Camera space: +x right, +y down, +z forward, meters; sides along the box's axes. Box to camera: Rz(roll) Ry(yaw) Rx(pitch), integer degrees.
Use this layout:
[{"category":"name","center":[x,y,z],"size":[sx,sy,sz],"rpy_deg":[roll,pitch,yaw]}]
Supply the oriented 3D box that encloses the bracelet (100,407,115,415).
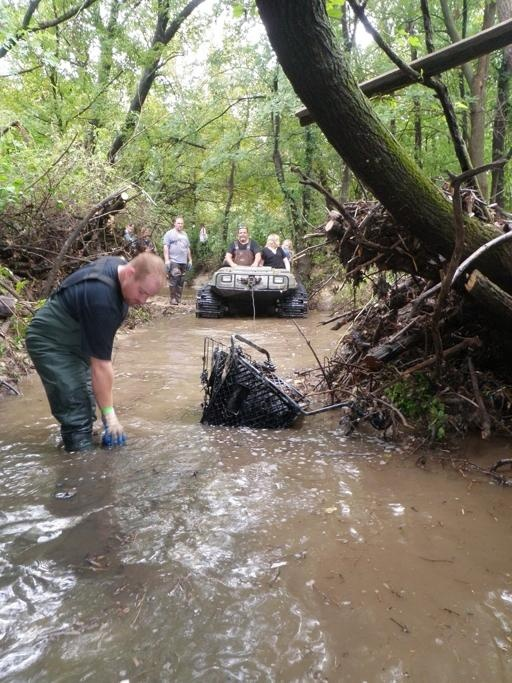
[{"category":"bracelet","center":[-1.052,0.485,3.786],"size":[0.074,0.050,0.071],"rpy_deg":[-1,6,-43]}]

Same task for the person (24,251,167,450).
[{"category":"person","center":[-1.098,0.097,3.698],"size":[0.959,1.388,0.461],"rpy_deg":[6,12,34]}]

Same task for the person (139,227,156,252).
[{"category":"person","center":[-2.601,-2.469,12.732],"size":[0.335,0.627,1.932],"rpy_deg":[-3,9,-11]}]

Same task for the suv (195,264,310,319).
[{"category":"suv","center":[-0.077,-1.157,12.602],"size":[2.522,1.181,1.608],"rpy_deg":[0,9,2]}]
